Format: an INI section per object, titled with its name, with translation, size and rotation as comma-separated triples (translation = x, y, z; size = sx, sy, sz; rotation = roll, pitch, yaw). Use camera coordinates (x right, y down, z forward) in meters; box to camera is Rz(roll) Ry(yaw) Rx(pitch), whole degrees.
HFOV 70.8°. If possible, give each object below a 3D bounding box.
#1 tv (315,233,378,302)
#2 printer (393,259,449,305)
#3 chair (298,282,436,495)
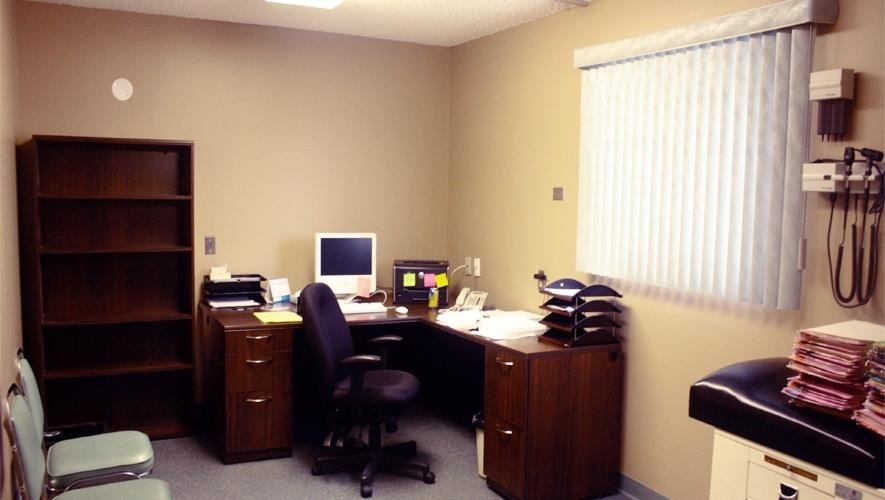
[tv]
translation = -0.898, 0.162, 5.723
size = 0.691, 0.637, 0.232
rotation = 0, -1, -16
[printer]
translation = -0.211, 0.296, 5.958
size = 0.450, 0.311, 0.437
rotation = 0, 2, 0
[chair]
translation = -0.630, 1.050, 4.961
size = 1.008, 1.518, 0.821
rotation = 1, 13, 8
